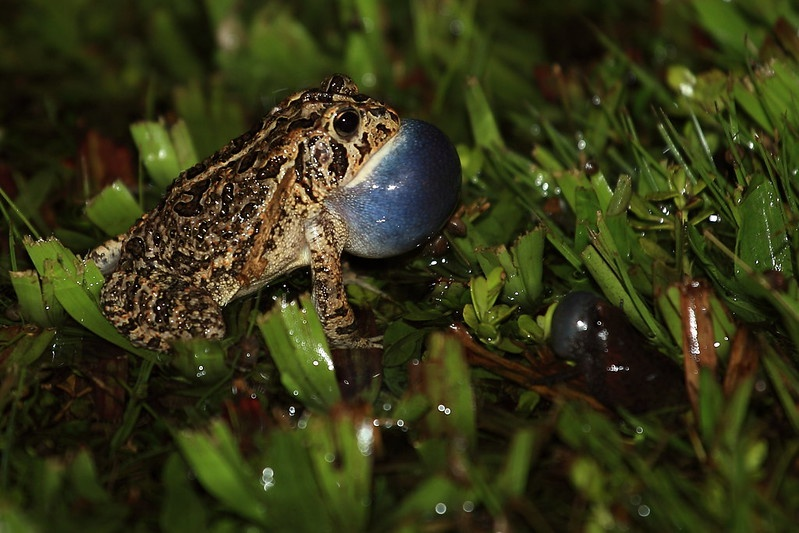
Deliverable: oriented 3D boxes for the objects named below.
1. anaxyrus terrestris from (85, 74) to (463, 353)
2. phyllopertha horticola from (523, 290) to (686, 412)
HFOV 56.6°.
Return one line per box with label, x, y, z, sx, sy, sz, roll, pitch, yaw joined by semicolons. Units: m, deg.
anaxyrus terrestris;-0.450;-0.121;2.796;1.345;0.543;0.906;-39;84;-15
phyllopertha horticola;0.681;0.272;2.339;0.297;0.168;0.452;-25;81;-13
